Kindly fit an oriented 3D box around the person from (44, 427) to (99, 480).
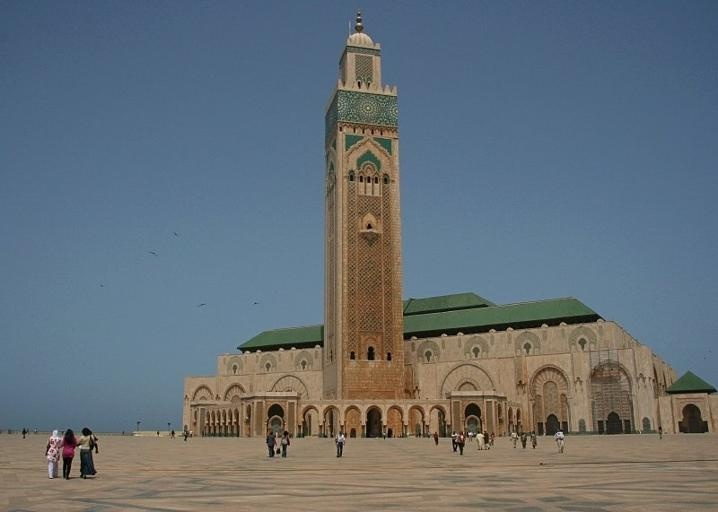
[{"bbox_3d":[-6.348,4.393,19.586,1.037,1.167,0.940,3,-19,-18],"label":"person"}]
